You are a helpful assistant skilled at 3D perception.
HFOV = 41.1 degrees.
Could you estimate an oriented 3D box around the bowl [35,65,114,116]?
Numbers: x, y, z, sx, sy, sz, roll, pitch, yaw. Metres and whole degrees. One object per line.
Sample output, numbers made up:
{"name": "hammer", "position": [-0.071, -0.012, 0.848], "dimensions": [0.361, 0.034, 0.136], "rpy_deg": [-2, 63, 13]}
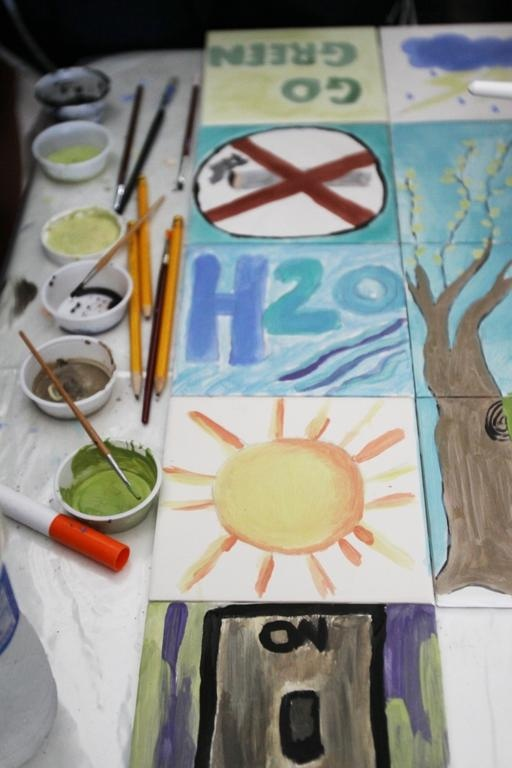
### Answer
{"name": "bowl", "position": [-0.332, -0.553, 1.243], "dimensions": [0.115, 0.050, 0.116], "rpy_deg": [-22, 16, 7]}

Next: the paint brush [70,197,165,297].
{"name": "paint brush", "position": [-0.206, -0.195, 1.013], "dimensions": [0.017, 0.027, 0.236], "rpy_deg": [32, 49, 2]}

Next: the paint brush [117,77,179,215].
{"name": "paint brush", "position": [-0.161, -0.435, 1.212], "dimensions": [0.036, 0.023, 0.401], "rpy_deg": [-9, 49, 36]}
